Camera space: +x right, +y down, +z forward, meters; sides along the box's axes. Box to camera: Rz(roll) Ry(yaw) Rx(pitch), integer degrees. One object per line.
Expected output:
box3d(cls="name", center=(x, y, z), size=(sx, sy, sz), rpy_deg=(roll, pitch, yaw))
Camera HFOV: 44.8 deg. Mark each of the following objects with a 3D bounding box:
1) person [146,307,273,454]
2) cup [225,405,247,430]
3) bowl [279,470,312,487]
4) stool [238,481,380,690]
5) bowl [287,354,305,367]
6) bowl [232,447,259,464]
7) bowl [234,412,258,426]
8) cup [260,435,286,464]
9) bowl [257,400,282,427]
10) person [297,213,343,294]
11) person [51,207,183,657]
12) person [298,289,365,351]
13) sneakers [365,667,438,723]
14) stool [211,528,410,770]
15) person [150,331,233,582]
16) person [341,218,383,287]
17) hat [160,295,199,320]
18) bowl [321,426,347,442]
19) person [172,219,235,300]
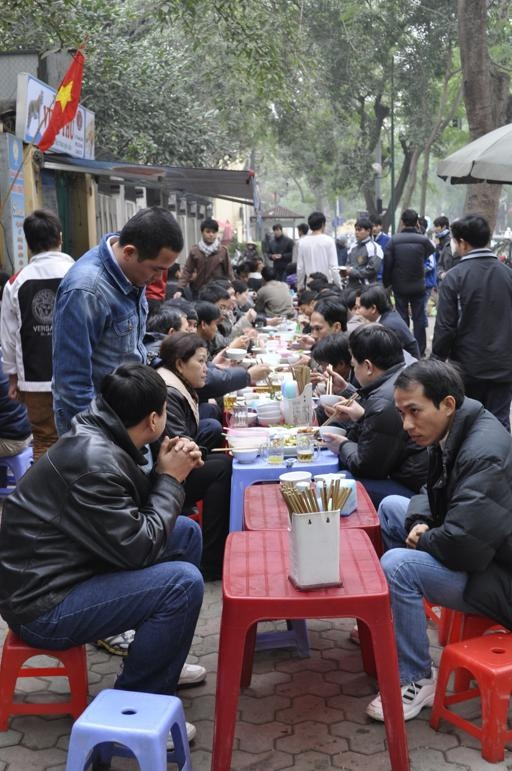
box3d(cls="person", center=(-0.283, -0.022, 4.138), size=(0.622, 1.013, 0.409), rpy_deg=(12, 18, 10))
box3d(cls="cup", center=(-0.096, 0.191, 3.674), size=(0.113, 0.152, 0.124), rpy_deg=(-1, 1, 0))
box3d(cls="bowl", center=(0.137, 0.319, 2.120), size=(0.140, 0.061, 0.150), rpy_deg=(-2, -2, 0))
box3d(cls="stool", center=(0.244, 0.811, 2.645), size=(0.593, 0.597, 0.856), rpy_deg=(-1, 4, 0))
box3d(cls="bowl", center=(0.345, -0.211, 5.247), size=(0.123, 0.086, 0.173), rpy_deg=(-1, -4, 5))
box3d(cls="bowl", center=(-0.054, 0.346, 3.062), size=(0.086, 0.047, 0.090), rpy_deg=(-5, 1, 0))
box3d(cls="bowl", center=(-0.061, 0.206, 3.645), size=(0.093, 0.037, 0.091), rpy_deg=(-1, 5, 0))
box3d(cls="cup", center=(0.096, 0.321, 3.062), size=(0.129, 0.139, 0.081), rpy_deg=(-1, 4, -21))
box3d(cls="bowl", center=(0.081, 0.171, 3.680), size=(0.131, 0.134, 0.152), rpy_deg=(-4, -7, 3))
box3d(cls="person", center=(0.938, -1.616, 9.238), size=(0.652, 1.860, 0.376), rpy_deg=(2, 30, 11))
box3d(cls="person", center=(-0.559, 0.114, 2.543), size=(0.463, 1.616, 0.493), rpy_deg=(7, 15, 13))
box3d(cls="person", center=(0.624, -0.489, 4.862), size=(0.403, 0.429, 0.796), rpy_deg=(-14, 19, -15))
box3d(cls="sneakers", center=(0.531, 1.079, 2.177), size=(0.312, 0.138, 0.115), rpy_deg=(-2, -7, -29))
box3d(cls="stool", center=(0.164, 0.668, 1.935), size=(0.540, 0.527, 0.715), rpy_deg=(-1, 2, 0))
box3d(cls="person", center=(-0.331, 0.296, 3.277), size=(0.507, 1.138, 0.400), rpy_deg=(4, 17, 17))
box3d(cls="person", center=(1.539, -1.860, 8.718), size=(0.483, 0.952, 0.799), rpy_deg=(0, 1, 10))
box3d(cls="hat", center=(-0.533, -0.552, 4.387), size=(0.220, 0.209, 0.168), rpy_deg=(-20, 13, -17))
box3d(cls="bowl", center=(0.404, 0.247, 3.218), size=(0.086, 0.055, 0.085), rpy_deg=(0, 0, 0))
box3d(cls="person", center=(-0.735, -1.407, 8.597), size=(0.726, 1.656, 0.449), rpy_deg=(-6, 27, -21))
